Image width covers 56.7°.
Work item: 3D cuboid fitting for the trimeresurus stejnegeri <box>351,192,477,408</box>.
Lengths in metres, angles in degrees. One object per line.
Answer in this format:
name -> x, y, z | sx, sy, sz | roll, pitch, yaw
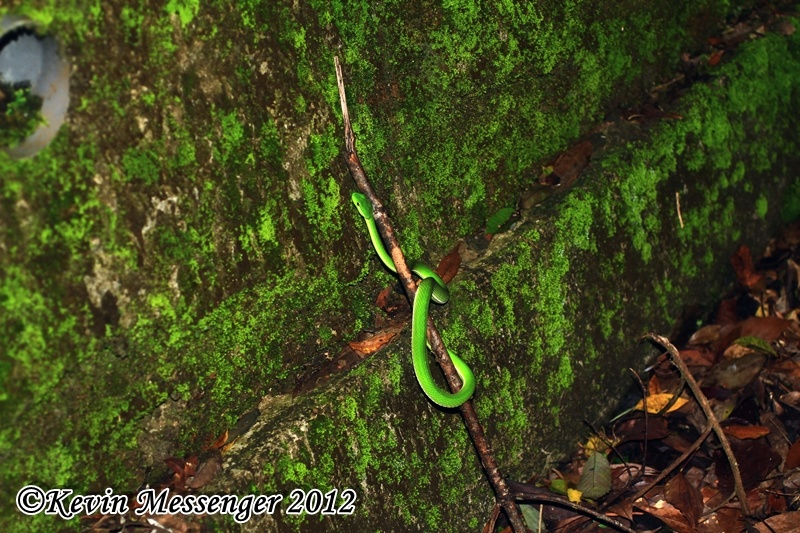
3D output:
trimeresurus stejnegeri -> 0.093, 0.198, 3.515 | 0.505, 0.206, 1.173 | -37, 106, -59
